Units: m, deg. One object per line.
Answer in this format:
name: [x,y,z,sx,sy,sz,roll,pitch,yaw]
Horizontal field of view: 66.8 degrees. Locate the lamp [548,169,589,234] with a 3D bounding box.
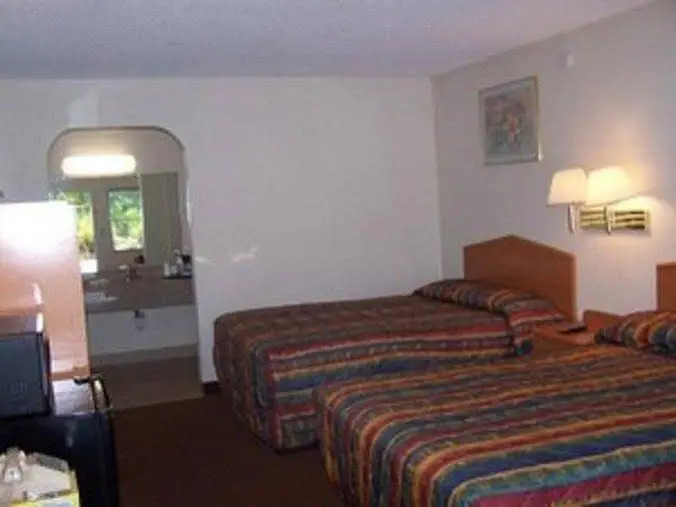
lamp: [1.839,-0.417,4.109,0.284,0.523,0.260,0,11,26]

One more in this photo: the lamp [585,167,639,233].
lamp: [1.989,-0.386,3.754,0.325,0.503,0.245,-3,10,10]

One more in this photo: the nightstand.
nightstand: [1.769,0.583,3.842,0.423,0.265,0.426,-6,10,-25]

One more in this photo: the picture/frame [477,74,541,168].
picture/frame: [1.573,-1.231,4.767,0.017,0.698,0.686,-11,12,-29]

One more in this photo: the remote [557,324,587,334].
remote: [1.728,0.554,3.818,0.179,0.045,0.099,-8,15,-9]

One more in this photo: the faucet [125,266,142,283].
faucet: [-2.340,0.220,5.866,0.162,0.162,0.187,-9,10,-22]

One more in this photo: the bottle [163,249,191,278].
bottle: [-1.883,0.128,5.998,0.263,0.331,0.346,2,-1,-20]
